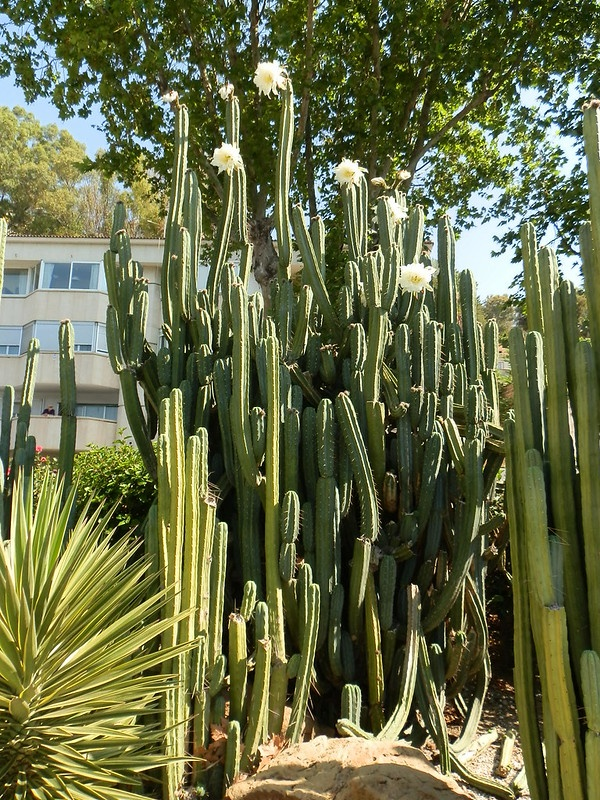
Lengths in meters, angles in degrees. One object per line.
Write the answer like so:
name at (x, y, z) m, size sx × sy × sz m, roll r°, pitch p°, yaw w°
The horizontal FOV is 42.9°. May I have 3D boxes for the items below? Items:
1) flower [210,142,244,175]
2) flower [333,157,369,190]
flower at (-0.348, -1.170, 3.702) m, size 0.127 × 0.203 × 0.092 m, roll 12°, pitch 23°, yaw 16°
flower at (0.256, -1.161, 3.961) m, size 0.155 × 0.246 × 0.079 m, roll 3°, pitch 8°, yaw -5°
